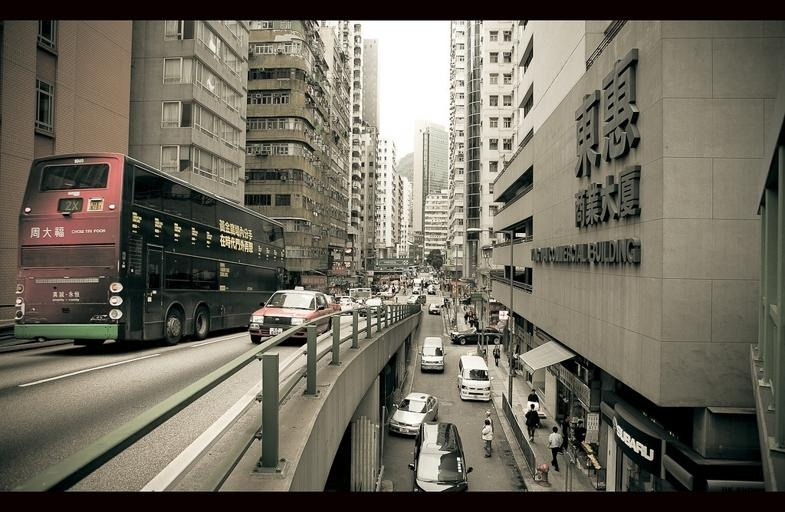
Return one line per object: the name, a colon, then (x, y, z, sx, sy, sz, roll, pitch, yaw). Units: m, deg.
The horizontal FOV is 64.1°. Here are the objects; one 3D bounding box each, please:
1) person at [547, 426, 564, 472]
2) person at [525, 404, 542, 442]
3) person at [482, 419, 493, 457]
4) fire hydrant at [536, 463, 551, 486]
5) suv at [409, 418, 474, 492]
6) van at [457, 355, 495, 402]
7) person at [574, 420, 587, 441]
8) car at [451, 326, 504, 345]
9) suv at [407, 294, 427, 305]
person: (5.273, 6.126, 20.151, 0.392, 1.233, 1.128, -3, -4, 13)
person: (4.958, 5.851, 22.170, 0.391, 1.217, 1.313, -3, -4, 11)
person: (3.295, 6.190, 21.612, 0.277, 1.272, 0.880, -2, -4, 6)
fire hydrant: (4.410, 6.330, 18.431, 0.413, 0.674, 1.242, -3, -5, 12)
suv: (1.441, 6.139, 19.180, 1.437, 1.133, 3.113, -1, -9, 2)
van: (3.773, 5.643, 28.573, 1.403, 1.327, 2.675, 0, -7, 2)
person: (6.064, 5.614, 20.175, 0.347, 0.725, 0.433, -3, -4, 17)
car: (5.699, 5.587, 42.487, 3.123, 0.983, 1.461, 3, -3, 5)
suv: (2.892, 5.079, 73.186, 1.264, 1.073, 3.931, -2, -7, 8)
